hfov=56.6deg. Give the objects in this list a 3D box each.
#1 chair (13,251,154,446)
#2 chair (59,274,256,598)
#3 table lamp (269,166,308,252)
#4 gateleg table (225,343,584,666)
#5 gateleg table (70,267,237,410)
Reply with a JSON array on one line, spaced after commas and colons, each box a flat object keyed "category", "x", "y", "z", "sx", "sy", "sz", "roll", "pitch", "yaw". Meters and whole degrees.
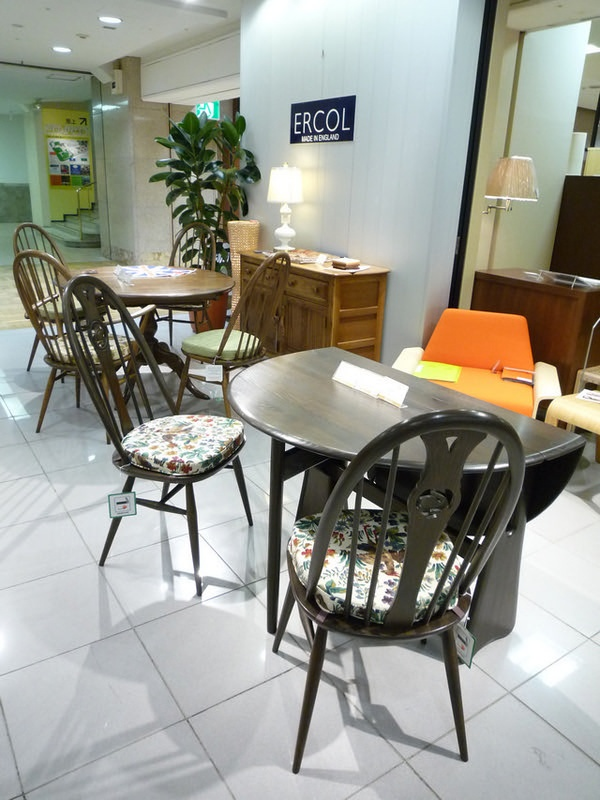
[{"category": "chair", "x": -1.104, "y": -0.305, "z": 2.911, "sx": 0.577, "sy": 0.789, "sz": 0.592, "roll": -14, "pitch": 43, "yaw": -35}, {"category": "chair", "x": -0.443, "y": 0.087, "z": 1.781, "sx": 0.510, "sy": 0.870, "sz": 0.447, "roll": 11, "pitch": 23, "yaw": 17}, {"category": "table lamp", "x": -0.104, "y": -1.434, "z": 4.206, "sx": 0.259, "sy": 0.613, "sz": 0.479, "roll": 6, "pitch": 24, "yaw": 8}, {"category": "gateleg table", "x": 0.196, "y": 0.333, "z": 1.454, "sx": 0.856, "sy": 0.582, "sz": 0.547, "roll": 18, "pitch": 24, "yaw": 37}, {"category": "gateleg table", "x": -0.889, "y": -0.396, "z": 3.356, "sx": 0.758, "sy": 0.581, "sz": 0.803, "roll": 2, "pitch": 0, "yaw": 9}]
